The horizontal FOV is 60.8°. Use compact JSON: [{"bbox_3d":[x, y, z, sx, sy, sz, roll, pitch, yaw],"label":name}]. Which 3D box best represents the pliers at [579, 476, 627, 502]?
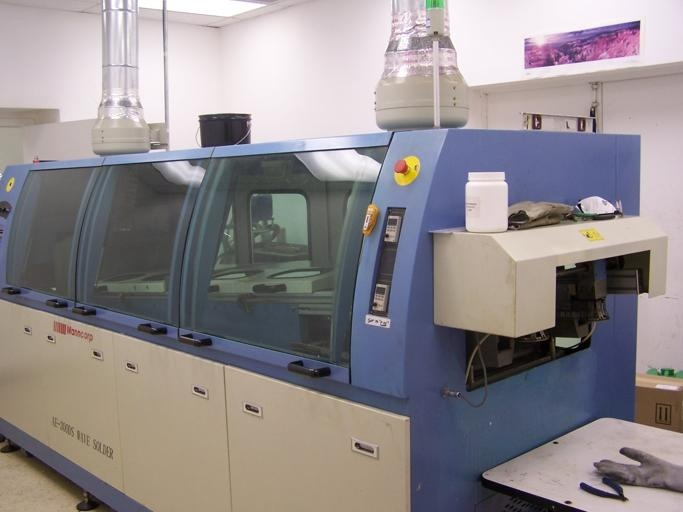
[{"bbox_3d":[0.801,0.713,1.778,0.115,0.017,0.099,-3,12,-11],"label":"pliers"}]

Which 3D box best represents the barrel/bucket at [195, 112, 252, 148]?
[{"bbox_3d":[-0.531,-0.599,2.750,0.200,0.149,0.272,-12,16,-43],"label":"barrel/bucket"}]
